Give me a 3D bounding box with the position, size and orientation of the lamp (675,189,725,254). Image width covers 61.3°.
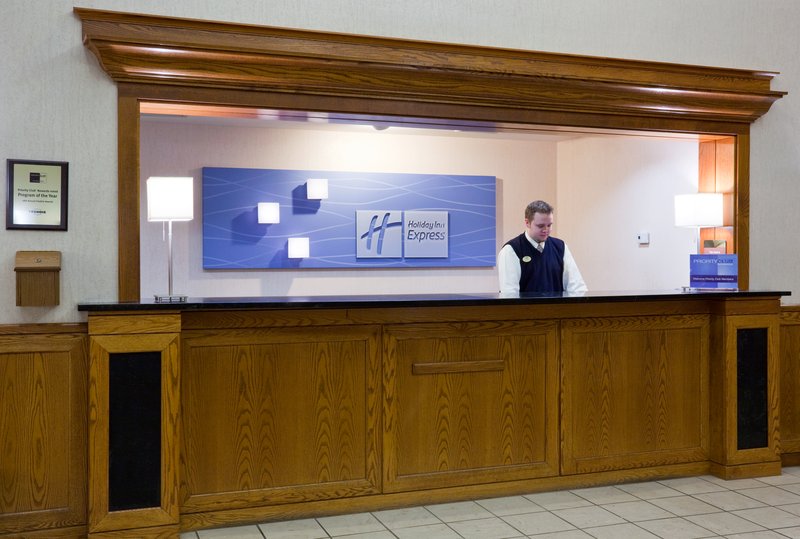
[{"bbox_3d":[2.458,-0.501,5.588,0.353,0.260,0.136,-2,2,2],"label":"lamp"}]

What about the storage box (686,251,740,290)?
[{"bbox_3d":[2.513,0.007,5.413,0.361,0.266,0.117,-2,-6,34],"label":"storage box"}]

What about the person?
[{"bbox_3d":[1.308,-0.223,6.319,0.767,0.829,0.342,-2,2,7],"label":"person"}]
